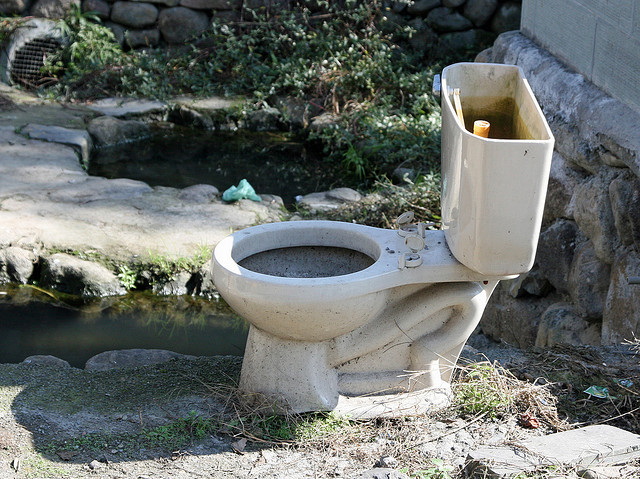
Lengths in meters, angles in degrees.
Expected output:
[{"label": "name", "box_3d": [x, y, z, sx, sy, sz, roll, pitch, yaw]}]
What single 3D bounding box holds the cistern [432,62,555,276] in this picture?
[{"label": "cistern", "box_3d": [0.770, -0.296, 4.051, 0.591, 0.644, 0.951, 2, 43, 4]}]
